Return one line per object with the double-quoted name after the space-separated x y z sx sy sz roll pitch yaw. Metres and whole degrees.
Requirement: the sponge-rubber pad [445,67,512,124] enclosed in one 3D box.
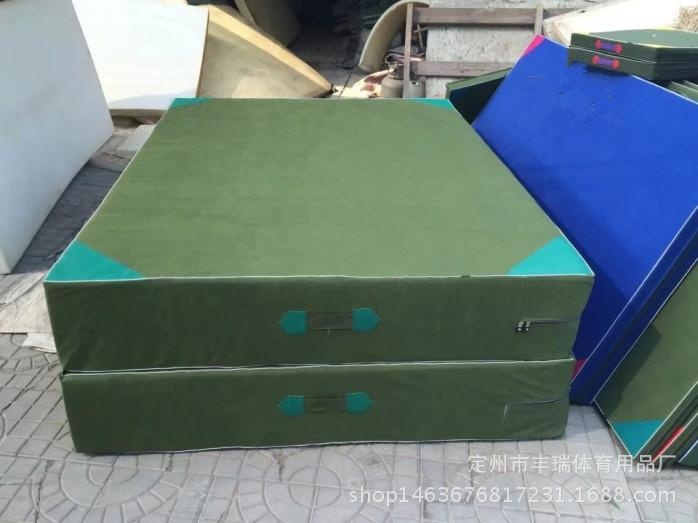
0.681 -0.918 3.224 0.310 0.314 0.072 -18 59 -1 "sponge-rubber pad"
